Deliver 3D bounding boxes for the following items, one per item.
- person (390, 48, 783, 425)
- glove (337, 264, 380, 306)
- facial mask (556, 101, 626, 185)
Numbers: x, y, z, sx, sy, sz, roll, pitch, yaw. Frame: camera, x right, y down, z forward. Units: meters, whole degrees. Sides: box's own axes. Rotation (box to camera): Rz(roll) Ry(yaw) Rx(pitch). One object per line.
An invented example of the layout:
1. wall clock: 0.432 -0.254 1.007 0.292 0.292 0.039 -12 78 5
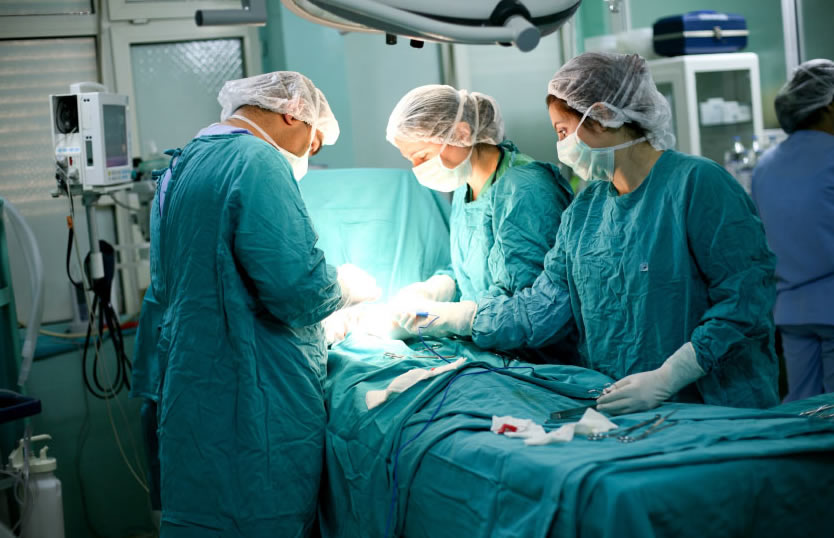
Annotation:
1. person: 0.659 -0.081 2.677 1.130 1.253 0.838 -10 -7 40
2. glove: -0.240 0.065 2.976 0.132 0.069 0.175 -1 28 -19
3. facial mask: 0.594 -0.425 2.591 0.240 0.175 0.212 -21 11 26
